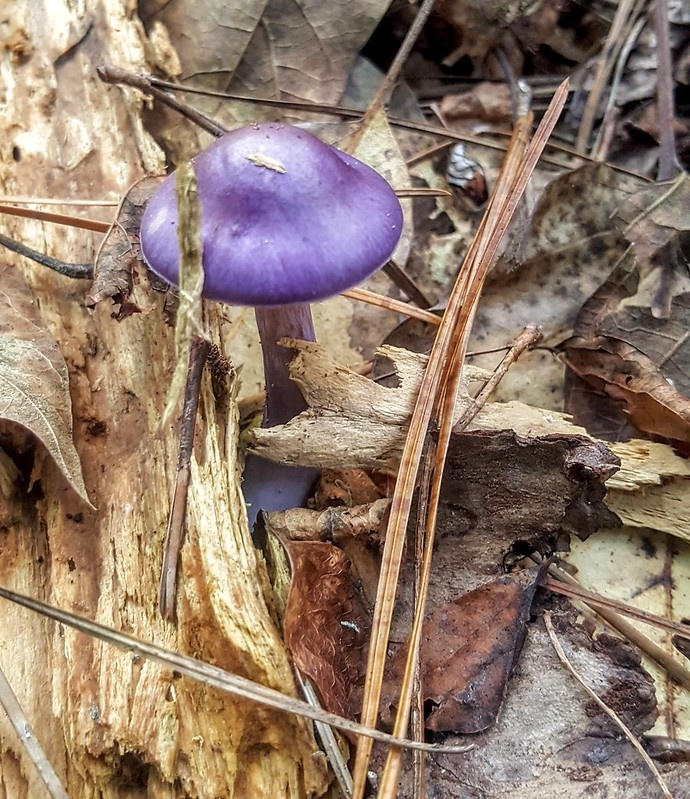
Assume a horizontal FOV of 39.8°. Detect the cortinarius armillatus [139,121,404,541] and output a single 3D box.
[{"bbox_3d":[-0.106,-0.329,2.032,0.382,0.365,0.605,26,26,-19],"label":"cortinarius armillatus"}]
